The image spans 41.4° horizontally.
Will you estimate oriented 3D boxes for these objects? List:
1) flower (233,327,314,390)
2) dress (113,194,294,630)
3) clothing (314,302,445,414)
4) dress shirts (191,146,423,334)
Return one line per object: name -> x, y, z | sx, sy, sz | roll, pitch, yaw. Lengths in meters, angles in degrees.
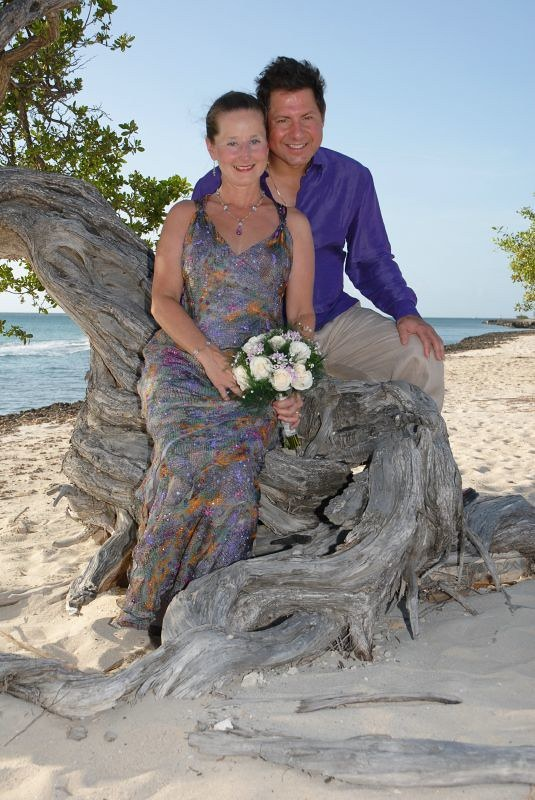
flower -> 0.048, -0.204, 3.757 | 0.374, 0.252, 0.347 | -23, 35, -15
dress -> -0.290, 0.034, 4.051 | 0.833, 2.331, 0.601 | 4, -13, 11
clothing -> 0.736, -0.305, 4.632 | 0.332, 0.625, 0.927 | -8, 13, -44
dress shirts -> 0.142, -0.945, 4.294 | 1.809, 0.889, 0.506 | 2, 16, 6
